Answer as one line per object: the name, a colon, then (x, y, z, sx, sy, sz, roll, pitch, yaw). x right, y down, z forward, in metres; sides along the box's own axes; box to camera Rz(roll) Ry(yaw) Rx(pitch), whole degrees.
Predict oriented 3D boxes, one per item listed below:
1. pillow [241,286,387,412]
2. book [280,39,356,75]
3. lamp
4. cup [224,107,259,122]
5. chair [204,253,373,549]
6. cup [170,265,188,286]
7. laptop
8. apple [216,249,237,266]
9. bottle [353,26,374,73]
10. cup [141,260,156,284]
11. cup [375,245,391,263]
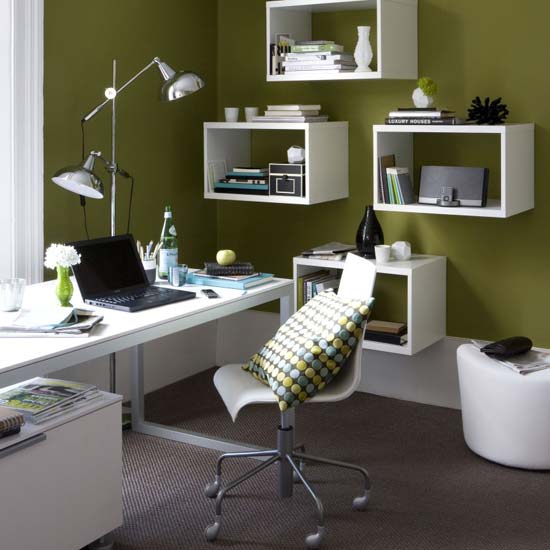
pillow: (0.121, 0.239, 1.790, 0.362, 0.337, 0.308, -1, 5, -10)
book: (0.215, -1.134, 2.756, 0.421, 0.177, 0.131, 2, 5, 11)
lamp: (-0.626, -0.356, 2.219, 0.572, 1.180, 0.300, 0, -6, -9)
cup: (-0.200, -0.939, 3.088, 0.192, 0.100, 0.099, 2, 5, 15)
chair: (0.042, 0.320, 2.179, 0.640, 1.235, 0.839, 1, 4, -11)
cup: (-0.401, 0.004, 2.180, 0.049, 0.095, 0.080, 1, 2, 41)
laptop: (-0.562, 0.015, 1.999, 0.292, 0.241, 0.338, 9, 11, 26)
apple: (-0.220, -0.079, 2.335, 0.079, 0.107, 0.090, 0, 5, -3)
bottle: (0.454, -1.147, 2.693, 0.088, 0.251, 0.168, 1, 5, 9)
cup: (-0.531, -0.008, 2.241, 0.064, 0.147, 0.077, 0, 1, -9)
cup: (0.554, -0.105, 2.680, 0.066, 0.082, 0.080, -1, -4, 34)
